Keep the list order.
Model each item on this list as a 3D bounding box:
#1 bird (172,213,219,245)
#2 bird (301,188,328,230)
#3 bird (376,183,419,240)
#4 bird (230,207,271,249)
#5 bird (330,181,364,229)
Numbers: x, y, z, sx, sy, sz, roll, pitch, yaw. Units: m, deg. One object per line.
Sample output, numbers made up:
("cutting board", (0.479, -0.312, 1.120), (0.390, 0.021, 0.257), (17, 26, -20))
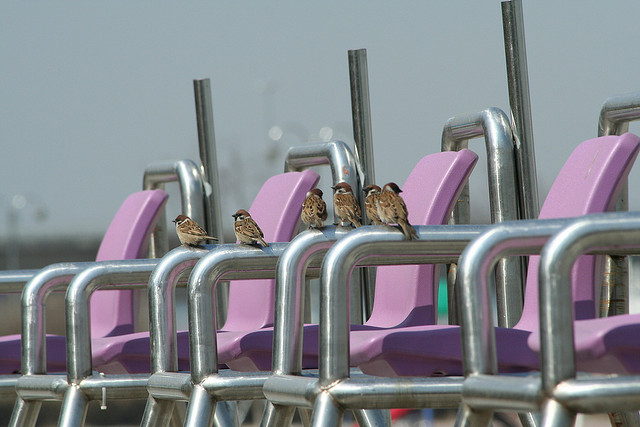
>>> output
("bird", (-0.531, 0.073, 6.872), (0.252, 0.128, 0.083), (6, 2, 31))
("bird", (-0.027, -0.015, 6.722), (0.115, 0.154, 0.215), (-6, 15, 4))
("bird", (0.302, -0.022, 6.562), (0.123, 0.156, 0.334), (5, 18, -30))
("bird", (-0.292, 0.062, 6.735), (0.184, 0.143, 0.103), (7, 7, 36))
("bird", (0.123, -0.033, 6.736), (0.199, 0.178, 0.103), (9, 0, 39))
